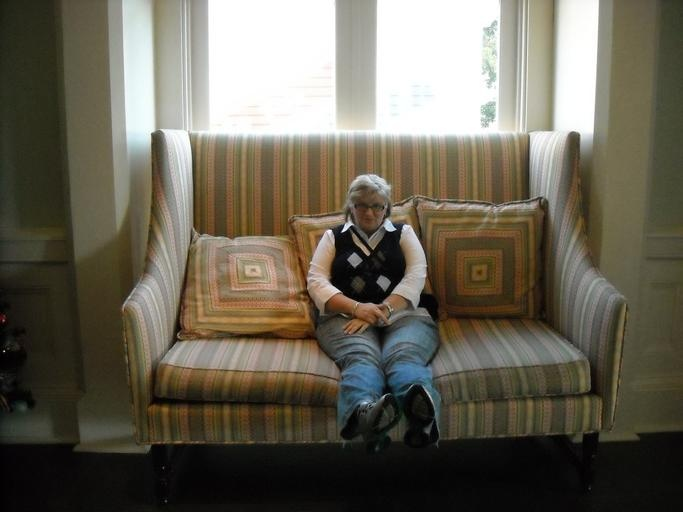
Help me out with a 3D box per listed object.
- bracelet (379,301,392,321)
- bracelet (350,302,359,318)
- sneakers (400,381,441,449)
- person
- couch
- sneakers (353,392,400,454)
[{"bbox_3d":[0.183,0.226,2.515,0.023,0.070,0.049,-13,17,-29],"label":"bracelet"},{"bbox_3d":[0.056,0.219,2.499,0.033,0.045,0.016,7,4,14],"label":"bracelet"},{"bbox_3d":[0.280,0.575,2.152,0.122,0.252,0.081,-1,12,6],"label":"sneakers"},{"bbox_3d":[0.137,0.160,2.558,0.455,0.754,1.242,-2,36,-1],"label":"person"},{"bbox_3d":[0.110,0.080,2.696,1.901,1.306,1.049,-1,12,-2],"label":"couch"},{"bbox_3d":[0.108,0.586,2.130,0.091,0.271,0.122,5,36,-14],"label":"sneakers"}]
